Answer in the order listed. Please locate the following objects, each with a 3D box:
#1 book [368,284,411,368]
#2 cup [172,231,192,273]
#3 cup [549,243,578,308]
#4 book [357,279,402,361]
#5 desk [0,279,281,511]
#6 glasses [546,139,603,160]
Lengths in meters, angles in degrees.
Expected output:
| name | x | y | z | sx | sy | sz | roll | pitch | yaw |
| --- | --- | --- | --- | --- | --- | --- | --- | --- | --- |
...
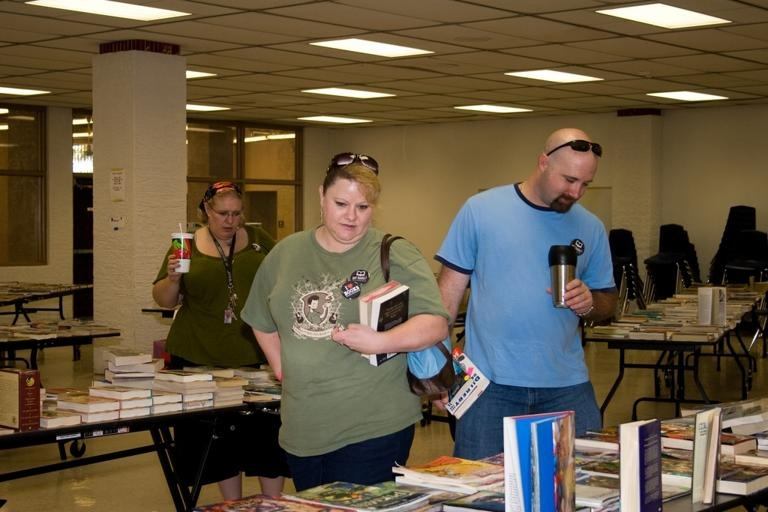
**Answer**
| name | x | y | z | sx | sy | sz | roll | pitch | yaw |
| --- | --- | --- | --- | --- | --- | --- | --- | --- | --- |
| book | 0.004 | 0.251 | 2.250 | 0.093 | 0.241 | 0.242 | 14 | 18 | 29 |
| cup | -1.267 | -0.018 | 3.834 | 0.094 | 0.266 | 0.132 | -3 | 0 | 19 |
| cup | 0.825 | 0.091 | 2.782 | 0.122 | 0.268 | 0.094 | -3 | 0 | 15 |
| book | 0.005 | 0.246 | 2.247 | 0.097 | 0.262 | 0.202 | 12 | 18 | 36 |
| desk | -1.822 | 1.065 | 4.523 | 1.445 | 0.486 | 2.093 | 2 | -2 | -39 |
| glasses | 0.903 | -0.517 | 2.845 | 0.138 | 0.039 | 0.132 | 7 | -20 | -35 |
